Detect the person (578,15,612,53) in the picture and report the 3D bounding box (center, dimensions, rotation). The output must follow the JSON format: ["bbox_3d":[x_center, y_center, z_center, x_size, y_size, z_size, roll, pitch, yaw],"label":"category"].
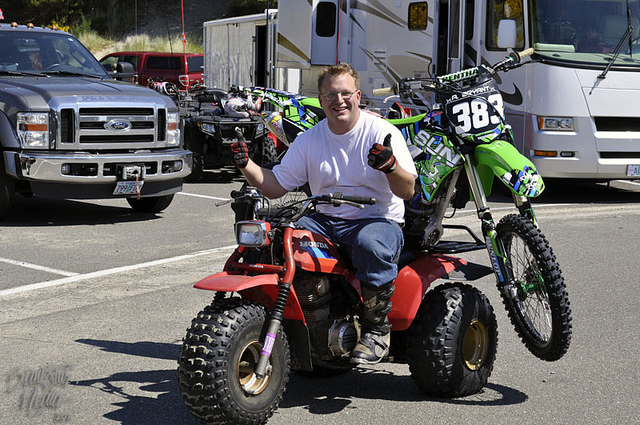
[{"bbox_3d":[5.433,-3.571,11.417,0.691,0.730,0.211,-2,11,-12],"label":"person"}]

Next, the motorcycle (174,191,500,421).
[{"bbox_3d":[0.051,0.599,4.207,2.314,1.483,1.268,1,-2,-41],"label":"motorcycle"}]

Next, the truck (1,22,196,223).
[{"bbox_3d":[-4.541,-1.732,10.446,2.657,2.322,3.954,-3,4,-38],"label":"truck"}]

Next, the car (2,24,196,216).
[{"bbox_3d":[-4.535,-1.783,10.356,2.601,2.311,3.813,-3,5,-39],"label":"car"}]

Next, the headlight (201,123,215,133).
[{"bbox_3d":[-2.413,-1.810,12.221,0.217,0.081,0.188,15,38,21],"label":"headlight"}]

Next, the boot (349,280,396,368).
[{"bbox_3d":[0.350,0.730,3.951,0.183,0.581,0.458,-3,-3,36],"label":"boot"}]

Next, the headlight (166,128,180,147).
[{"bbox_3d":[-2.559,-1.304,9.876,0.258,0.238,0.377,2,0,14],"label":"headlight"}]

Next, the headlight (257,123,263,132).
[{"bbox_3d":[-1.346,-1.866,12.575,0.157,0.151,0.271,1,11,1],"label":"headlight"}]

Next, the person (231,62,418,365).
[{"bbox_3d":[0.094,-0.028,4.142,1.153,1.929,1.115,3,2,33],"label":"person"}]
